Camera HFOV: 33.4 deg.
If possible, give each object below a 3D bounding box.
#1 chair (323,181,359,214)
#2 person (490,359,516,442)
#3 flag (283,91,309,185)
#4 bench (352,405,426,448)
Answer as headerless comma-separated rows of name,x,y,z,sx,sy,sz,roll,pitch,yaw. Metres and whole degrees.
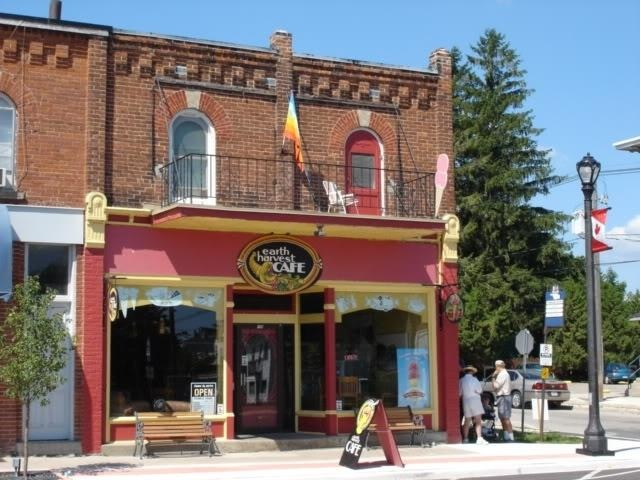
chair,0.518,-1.169,29.972,0.978,1.099,0.696,3,4,29
person,5.300,4.621,30.619,0.696,2.342,1.197,4,0,15
flag,-0.685,-2.918,29.654,0.776,2.426,0.892,4,0,15
bench,2.170,5.202,29.584,1.443,1.077,0.651,1,0,-17
